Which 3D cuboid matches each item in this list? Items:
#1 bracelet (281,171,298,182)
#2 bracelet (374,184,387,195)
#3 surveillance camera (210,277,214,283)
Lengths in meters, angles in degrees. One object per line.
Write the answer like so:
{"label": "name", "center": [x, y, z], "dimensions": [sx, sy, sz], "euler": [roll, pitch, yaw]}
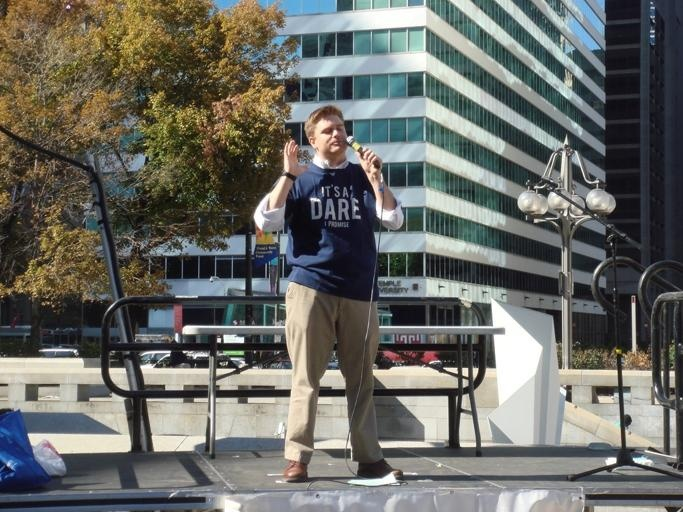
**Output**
{"label": "bracelet", "center": [-1.176, -1.819, 31.550], "dimensions": [0.241, 0.099, 0.244], "euler": [28, -9, 28]}
{"label": "bracelet", "center": [0.864, -1.526, 31.764], "dimensions": [0.149, 0.228, 0.059], "euler": [1, -3, -4]}
{"label": "surveillance camera", "center": [-6.453, 1.130, 69.474], "dimensions": [0.153, 0.251, 0.336], "euler": [-2, -19, 10]}
